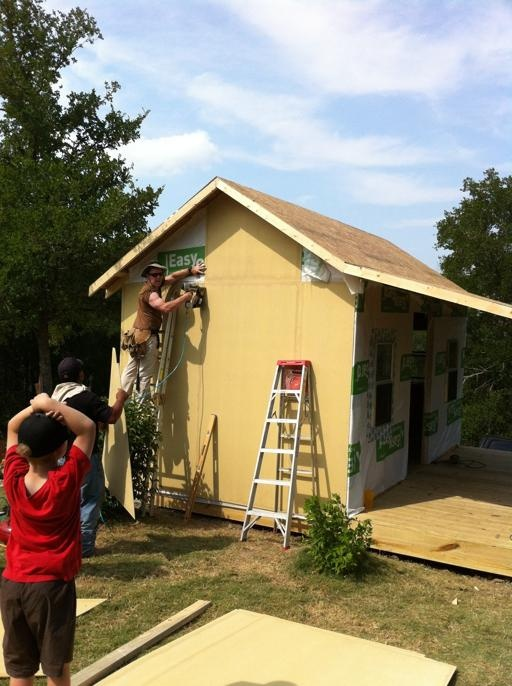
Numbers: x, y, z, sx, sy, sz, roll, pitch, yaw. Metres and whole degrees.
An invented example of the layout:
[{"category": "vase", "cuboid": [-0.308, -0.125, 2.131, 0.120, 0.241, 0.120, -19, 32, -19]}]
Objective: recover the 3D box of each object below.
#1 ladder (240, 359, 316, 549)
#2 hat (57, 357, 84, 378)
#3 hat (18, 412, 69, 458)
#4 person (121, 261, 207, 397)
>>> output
[{"category": "ladder", "cuboid": [0.165, 1.150, 6.860, 0.814, 1.935, 0.589, 1, 2, 38]}, {"category": "hat", "cuboid": [-1.455, 0.209, 5.006, 0.165, 0.188, 0.256, -1, 2, -17]}, {"category": "hat", "cuboid": [-0.929, 0.402, 2.806, 0.211, 0.191, 0.202, -1, 2, -18]}, {"category": "person", "cuboid": [-1.206, -0.158, 7.799, 0.973, 1.627, 0.627, 1, 2, 41]}]
